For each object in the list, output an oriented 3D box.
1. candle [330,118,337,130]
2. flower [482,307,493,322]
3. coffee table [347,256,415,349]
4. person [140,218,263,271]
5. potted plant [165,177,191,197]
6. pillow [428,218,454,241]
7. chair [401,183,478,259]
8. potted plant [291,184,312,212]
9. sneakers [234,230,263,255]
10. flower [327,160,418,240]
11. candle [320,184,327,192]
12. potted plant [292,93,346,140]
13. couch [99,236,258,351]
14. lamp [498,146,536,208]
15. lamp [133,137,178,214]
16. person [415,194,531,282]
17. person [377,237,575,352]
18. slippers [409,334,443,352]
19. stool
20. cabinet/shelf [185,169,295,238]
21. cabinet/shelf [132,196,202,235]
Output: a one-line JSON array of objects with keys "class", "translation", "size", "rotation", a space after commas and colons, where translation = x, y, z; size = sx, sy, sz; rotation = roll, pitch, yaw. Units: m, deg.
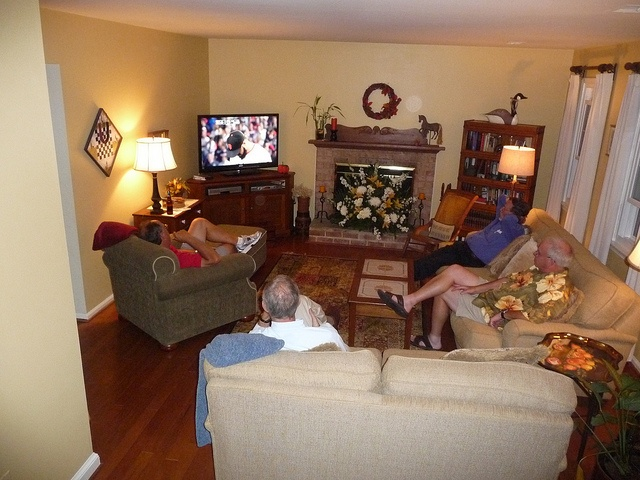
[{"class": "candle", "translation": [0.207, -1.700, 7.024], "size": [0.093, 0.161, 0.100], "rotation": [-1, 17, -2]}, {"class": "flower", "translation": [1.371, 0.621, 3.937], "size": [0.033, 0.094, 0.093], "rotation": [7, -21, -24]}, {"class": "coffee table", "translation": [0.562, 0.506, 4.375], "size": [0.602, 0.569, 1.129], "rotation": [2, 25, 5]}, {"class": "person", "translation": [-1.136, 0.026, 4.674], "size": [0.941, 0.597, 0.434], "rotation": [-23, 35, -34]}, {"class": "potted plant", "translation": [-1.792, -0.642, 6.099], "size": [0.225, 0.259, 0.298], "rotation": [-4, 31, -11]}, {"class": "pillow", "translation": [1.579, -0.125, 6.205], "size": [0.061, 0.190, 0.268], "rotation": [5, 11, -42]}, {"class": "chair", "translation": [1.598, -0.260, 6.344], "size": [0.637, 1.197, 0.790], "rotation": [25, 21, 36]}, {"class": "potted plant", "translation": [-0.275, -0.674, 7.321], "size": [0.341, 0.467, 0.384], "rotation": [-7, 18, -26]}, {"class": "sneakers", "translation": [-0.815, -0.005, 5.423], "size": [0.117, 0.151, 0.324], "rotation": [8, 40, 43]}, {"class": "flower", "translation": [0.780, -0.569, 6.867], "size": [1.004, 1.200, 0.829], "rotation": [4, -19, 2]}, {"class": "candle", "translation": [0.042, -0.772, 7.190], "size": [0.084, 0.084, 0.085], "rotation": [-1, 27, 0]}, {"class": "potted plant", "translation": [-0.014, -1.837, 7.117], "size": [0.636, 0.553, 0.649], "rotation": [4, 14, 9]}, {"class": "couch", "translation": [-1.355, 0.320, 4.687], "size": [1.329, 0.878, 1.439], "rotation": [7, 18, 12]}, {"class": "lamp", "translation": [2.336, -0.850, 5.780], "size": [0.469, 0.764, 0.479], "rotation": [2, 26, 5]}, {"class": "lamp", "translation": [-1.831, -0.710, 5.341], "size": [0.429, 0.825, 0.419], "rotation": [-6, 18, -21]}, {"class": "person", "translation": [1.404, -0.047, 5.092], "size": [1.607, 0.711, 0.669], "rotation": [6, -3, 2]}, {"class": "person", "translation": [1.315, 0.495, 4.070], "size": [1.550, 1.142, 0.741], "rotation": [5, 13, 14]}, {"class": "slippers", "translation": [0.960, 0.911, 4.308], "size": [0.266, 0.100, 0.115], "rotation": [9, 16, 19]}, {"class": "stool", "translation": [-0.922, 0.161, 5.789], "size": [0.582, 0.469, 0.577], "rotation": [4, 30, 5]}, {"class": "cabinet/shelf", "translation": [-1.172, -0.534, 7.050], "size": [1.521, 0.928, 0.618], "rotation": [-9, 26, -27]}, {"class": "cabinet/shelf", "translation": [-1.799, -0.444, 5.516], "size": [0.376, 0.469, 0.651], "rotation": [7, 23, 10]}]
